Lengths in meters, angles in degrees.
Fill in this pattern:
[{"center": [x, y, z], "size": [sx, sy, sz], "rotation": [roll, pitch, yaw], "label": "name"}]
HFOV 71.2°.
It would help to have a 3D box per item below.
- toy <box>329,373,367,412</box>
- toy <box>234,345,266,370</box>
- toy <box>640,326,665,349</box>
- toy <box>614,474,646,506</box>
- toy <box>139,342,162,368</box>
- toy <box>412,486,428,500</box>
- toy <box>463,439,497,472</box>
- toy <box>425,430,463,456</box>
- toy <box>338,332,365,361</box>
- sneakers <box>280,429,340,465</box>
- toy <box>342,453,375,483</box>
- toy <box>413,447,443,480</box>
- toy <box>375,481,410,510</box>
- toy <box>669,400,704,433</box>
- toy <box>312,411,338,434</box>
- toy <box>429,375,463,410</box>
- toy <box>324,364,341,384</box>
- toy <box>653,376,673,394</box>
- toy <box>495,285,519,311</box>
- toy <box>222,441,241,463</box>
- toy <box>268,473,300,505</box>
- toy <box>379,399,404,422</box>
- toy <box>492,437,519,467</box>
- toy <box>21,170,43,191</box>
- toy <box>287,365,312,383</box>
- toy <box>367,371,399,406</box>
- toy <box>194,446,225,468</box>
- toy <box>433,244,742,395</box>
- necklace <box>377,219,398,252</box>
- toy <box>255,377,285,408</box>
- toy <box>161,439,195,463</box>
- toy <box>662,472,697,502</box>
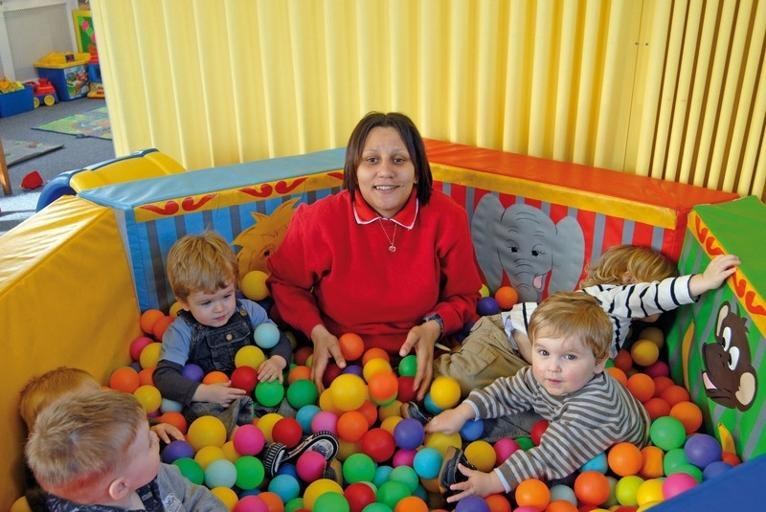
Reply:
[{"center": [-0.121, 0.495, 2.001], "size": [0.132, 0.154, 0.128], "rotation": [8, 61, 13], "label": "toy"}, {"center": [-0.530, 0.418, 2.154], "size": [0.107, 0.094, 0.092], "rotation": [-16, 23, 23], "label": "toy"}, {"center": [1.107, 0.326, 2.200], "size": [0.080, 0.081, 0.094], "rotation": [4, 29, 22], "label": "toy"}, {"center": [0.784, 0.750, 1.740], "size": [0.086, 0.098, 0.085], "rotation": [9, -3, 5], "label": "toy"}, {"center": [-0.912, 0.391, 2.089], "size": [0.068, 0.078, 0.068], "rotation": [19, -25, -16], "label": "toy"}, {"center": [0.129, 0.807, 1.845], "size": [0.044, 0.052, 0.045], "rotation": [-9, 2, 25], "label": "toy"}, {"center": [0.336, 0.691, 1.891], "size": [0.095, 0.093, 0.112], "rotation": [-4, -12, -20], "label": "toy"}, {"center": [0.211, 0.650, 1.868], "size": [0.098, 0.081, 0.083], "rotation": [7, -11, 13], "label": "toy"}, {"center": [-0.126, 0.382, 2.169], "size": [0.099, 0.140, 0.087], "rotation": [-4, 23, -3], "label": "toy"}, {"center": [-0.287, 0.667, 1.911], "size": [0.232, 0.084, 0.090], "rotation": [-22, 15, 13], "label": "sneakers"}, {"center": [-0.084, 0.723, 1.820], "size": [0.101, 0.118, 0.097], "rotation": [-4, 58, 17], "label": "toy"}, {"center": [0.151, 0.700, 1.796], "size": [0.073, 0.086, 0.072], "rotation": [-33, 35, -31], "label": "toy"}, {"center": [0.029, 0.770, 1.739], "size": [0.085, 0.084, 0.097], "rotation": [33, -23, -24], "label": "toy"}, {"center": [1.076, 0.562, 1.932], "size": [0.102, 0.118, 0.103], "rotation": [-19, 5, 46], "label": "toy"}, {"center": [-0.214, 0.601, 1.933], "size": [0.079, 0.075, 0.090], "rotation": [-20, -3, -19], "label": "toy"}, {"center": [0.228, 0.509, 2.044], "size": [0.115, 0.136, 0.114], "rotation": [6, 42, 25], "label": "toy"}, {"center": [-0.208, 0.472, 2.184], "size": [0.070, 0.082, 0.069], "rotation": [10, 8, 3], "label": "toy"}, {"center": [1.077, 0.500, 2.072], "size": [0.061, 0.069, 0.061], "rotation": [11, -17, 3], "label": "toy"}, {"center": [0.575, 0.192, 2.503], "size": [0.104, 0.118, 0.103], "rotation": [-9, 3, -1], "label": "toy"}, {"center": [-0.534, 0.678, 1.854], "size": [0.058, 0.069, 0.058], "rotation": [-5, 8, 9], "label": "toy"}, {"center": [-0.329, 0.769, 1.783], "size": [0.100, 0.084, 0.083], "rotation": [22, 29, -7], "label": "toy"}, {"center": [0.030, 0.586, 2.083], "size": [0.079, 0.078, 0.093], "rotation": [15, 4, 4], "label": "toy"}, {"center": [0.432, 0.688, 1.874], "size": [0.081, 0.079, 0.095], "rotation": [-11, -26, 10], "label": "toy"}, {"center": [-2.683, -0.573, 4.079], "size": [0.162, 0.121, 0.151], "rotation": [-23, 30, -40], "label": "toy"}, {"center": [-0.340, 0.473, 2.135], "size": [0.073, 0.068, 0.083], "rotation": [-5, 2, -30], "label": "toy"}, {"center": [-0.018, 0.482, 1.984], "size": [0.114, 0.133, 0.109], "rotation": [0, 53, -5], "label": "toy"}, {"center": [-0.582, 0.667, 1.795], "size": [0.079, 0.067, 0.064], "rotation": [5, 51, 9], "label": "toy"}, {"center": [0.736, 0.368, 2.088], "size": [0.853, 0.300, 0.511], "rotation": [-19, 21, 7], "label": "toy"}, {"center": [0.018, -0.078, 2.126], "size": [0.067, 0.126, 0.038], "rotation": [-1, 23, 4], "label": "necklace"}, {"center": [-0.440, 0.511, 2.078], "size": [0.105, 0.103, 0.123], "rotation": [-1, -3, -25], "label": "toy"}, {"center": [-0.683, 0.647, 1.772], "size": [0.072, 0.072, 0.085], "rotation": [-21, 6, -27], "label": "toy"}, {"center": [0.899, 0.688, 1.605], "size": [0.110, 0.063, 0.070], "rotation": [-3, 23, -2], "label": "toy"}]
